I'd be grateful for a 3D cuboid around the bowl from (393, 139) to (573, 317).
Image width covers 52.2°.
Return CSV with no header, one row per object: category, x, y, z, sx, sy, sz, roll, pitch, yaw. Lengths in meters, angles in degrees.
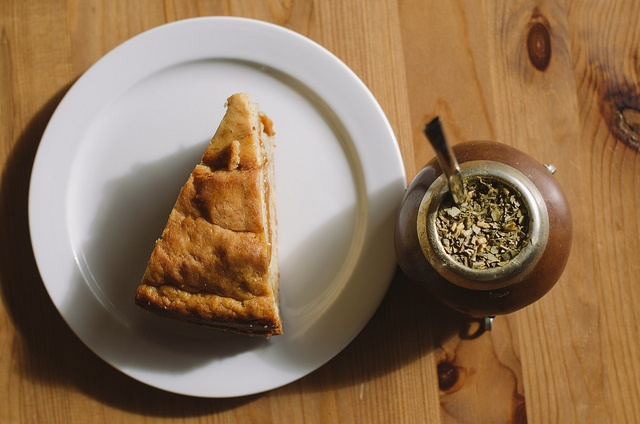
bowl,0.689,0.061,2.684,0.719,0.248,0.705,0,84,-1
